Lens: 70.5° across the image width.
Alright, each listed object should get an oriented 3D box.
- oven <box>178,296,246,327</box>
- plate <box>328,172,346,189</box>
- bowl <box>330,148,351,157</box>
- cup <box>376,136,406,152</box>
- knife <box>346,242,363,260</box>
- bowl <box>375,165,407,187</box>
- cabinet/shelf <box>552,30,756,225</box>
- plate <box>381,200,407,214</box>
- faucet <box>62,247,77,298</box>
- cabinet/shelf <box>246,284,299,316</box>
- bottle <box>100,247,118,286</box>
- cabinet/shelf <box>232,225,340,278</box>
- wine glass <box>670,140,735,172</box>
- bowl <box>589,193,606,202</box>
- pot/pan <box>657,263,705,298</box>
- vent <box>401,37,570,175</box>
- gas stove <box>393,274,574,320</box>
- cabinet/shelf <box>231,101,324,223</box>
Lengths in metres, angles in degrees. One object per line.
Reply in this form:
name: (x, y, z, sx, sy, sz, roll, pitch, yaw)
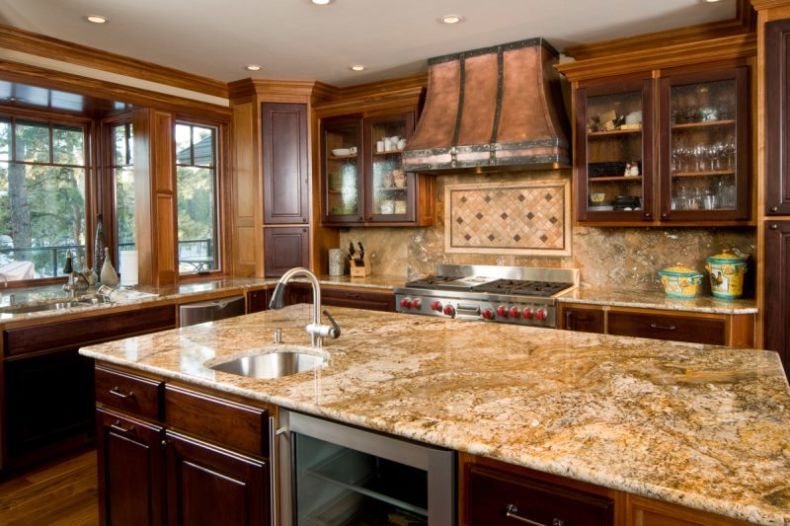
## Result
oven: (-1.645, 0.425, 5.041, 0.270, 0.248, 0.481, 13, 15, 43)
plate: (-0.605, -0.840, 5.768, 0.206, 0.147, 0.179, -1, 7, -8)
bowl: (-0.545, -1.126, 5.717, 0.140, 0.040, 0.120, -1, 0, -4)
cup: (-0.046, -1.156, 5.472, 0.159, 0.108, 0.275, -4, 6, -29)
knife: (-0.406, -0.131, 5.883, 0.224, 0.224, 0.207, -1, -1, 2)
bowl: (-0.057, -0.842, 5.485, 0.312, 0.139, 0.241, 1, 3, 11)
cabinet/shelf: (2.059, -1.043, 4.351, 2.077, 1.491, 0.590, 0, 0, 27)
plate: (-0.025, -0.535, 5.477, 0.197, 0.090, 0.170, 0, 2, -9)
faucet: (-2.694, 0.109, 4.684, 0.151, 0.417, 0.091, -2, -3, 10)
cabinet/shelf: (-1.037, 0.298, 4.584, 0.167, 0.232, 0.455, 1, 3, 37)
bottle: (-2.544, 0.038, 4.956, 0.134, 0.336, 0.252, -6, 7, -27)
cabinet/shelf: (-1.288, -0.142, 5.978, 1.062, 0.381, 0.496, -2, 2, -22)
wine glass: (2.319, -0.800, 4.230, 0.307, 0.142, 0.263, -2, 3, -11)
bowl: (1.649, -0.537, 4.576, 0.090, 0.040, 0.087, -1, 5, 0)
pot/pan: (2.280, 0.145, 4.427, 0.403, 0.202, 0.310, 0, 4, 15)
vent: (0.982, -1.419, 5.063, 0.911, 0.979, 1.690, -21, 20, -34)
gas stove: (0.769, 0.313, 4.905, 1.389, 0.306, 0.568, 1, 6, 29)
cabinet/shelf: (-1.304, -1.012, 5.778, 0.872, 1.270, 0.280, -1, 7, 21)
